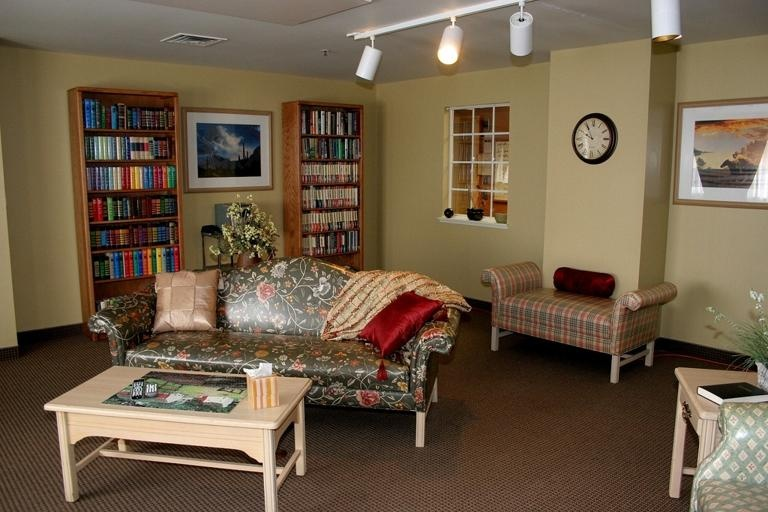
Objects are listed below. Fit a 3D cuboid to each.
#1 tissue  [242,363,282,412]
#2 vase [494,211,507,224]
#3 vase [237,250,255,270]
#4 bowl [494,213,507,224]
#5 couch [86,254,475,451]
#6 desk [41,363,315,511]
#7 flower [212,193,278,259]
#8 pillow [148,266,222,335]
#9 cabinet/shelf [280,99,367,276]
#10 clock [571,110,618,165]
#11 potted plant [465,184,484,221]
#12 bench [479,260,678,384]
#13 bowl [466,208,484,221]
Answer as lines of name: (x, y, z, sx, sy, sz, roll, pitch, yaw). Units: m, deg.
tissue : (-0.823, 0.869, 3.734, 0.289, 0.334, 0.277, -2, 2, -15)
vase: (1.586, -0.533, 7.435, 0.167, 0.152, 0.163, 3, 3, 25)
vase: (-1.536, 0.037, 6.161, 0.251, 0.235, 0.246, 0, 6, -5)
bowl: (1.598, -0.515, 7.460, 0.150, 0.103, 0.147, 1, -1, 0)
couch: (-0.950, 0.741, 4.931, 3.131, 1.136, 1.033, 1, 17, 10)
desk: (-1.417, 1.309, 3.925, 1.710, 0.825, 0.569, 0, 10, 6)
flower: (-1.532, -0.214, 6.269, 0.555, 0.685, 0.526, 2, 1, 31)
pillow: (-1.798, 0.407, 5.074, 0.767, 0.676, 0.192, -14, -18, 7)
cabinet/shelf: (-0.844, -0.990, 7.733, 1.169, 2.295, 0.445, -7, 11, -25)
clock: (2.309, -1.282, 6.004, 0.093, 0.541, 0.468, -11, 14, -41)
potted plant: (1.297, -0.735, 7.620, 0.256, 0.492, 0.233, 2, 24, -11)
bench: (2.056, 0.653, 5.944, 1.652, 0.994, 0.825, 6, 13, 38)
bowl: (1.245, -0.566, 7.453, 0.184, 0.121, 0.183, 0, 2, 0)
